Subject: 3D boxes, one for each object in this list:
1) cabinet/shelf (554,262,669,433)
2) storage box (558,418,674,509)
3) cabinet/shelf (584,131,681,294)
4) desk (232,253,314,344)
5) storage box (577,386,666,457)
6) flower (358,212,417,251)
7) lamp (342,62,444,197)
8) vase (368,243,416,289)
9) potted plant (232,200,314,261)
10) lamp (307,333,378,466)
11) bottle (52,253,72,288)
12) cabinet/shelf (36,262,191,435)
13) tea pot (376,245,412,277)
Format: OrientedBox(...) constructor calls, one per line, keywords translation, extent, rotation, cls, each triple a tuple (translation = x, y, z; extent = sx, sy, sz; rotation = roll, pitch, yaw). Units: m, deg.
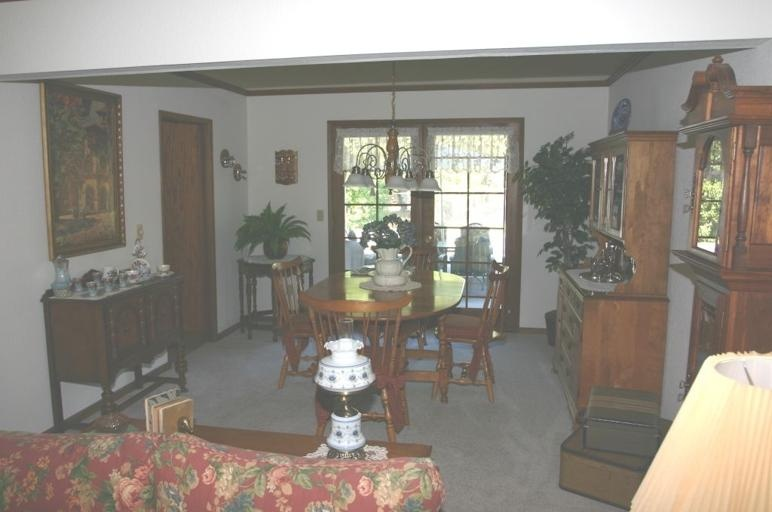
OrientedBox(translation=(1.839, 0.786, 4.669), extent=(0.605, 1.034, 1.087), rotation=(1, 7, 15), cls="cabinet/shelf")
OrientedBox(translation=(1.404, 1.332, 3.515), extent=(0.560, 0.276, 0.773), rotation=(7, 14, 33), cls="storage box")
OrientedBox(translation=(1.935, -0.354, 4.707), extent=(0.422, 1.228, 1.281), rotation=(1, 9, 9), cls="cabinet/shelf")
OrientedBox(translation=(-1.179, 0.423, 6.394), extent=(0.990, 0.966, 0.883), rotation=(0, 5, 4), cls="desk")
OrientedBox(translation=(1.519, 1.073, 3.666), extent=(0.381, 0.125, 0.404), rotation=(3, 19, 17), cls="storage box")
OrientedBox(translation=(0.022, -0.196, 4.828), extent=(0.367, 0.314, 0.316), rotation=(-1, 3, 29), cls="flower")
OrientedBox(translation=(0.055, -1.117, 5.069), extent=(0.875, 1.056, 0.836), rotation=(-1, 6, -40), cls="lamp")
OrientedBox(translation=(0.032, 0.078, 4.835), extent=(0.341, 0.350, 0.342), rotation=(-5, 9, -38), cls="vase")
OrientedBox(translation=(-1.328, -0.215, 6.311), extent=(0.696, 0.480, 0.696), rotation=(-1, 0, -25), cls="potted plant")
OrientedBox(translation=(-0.186, 0.698, 2.662), extent=(0.303, 0.535, 0.295), rotation=(-5, -4, 40), cls="lamp")
OrientedBox(translation=(-2.298, 0.130, 4.029), extent=(0.109, 0.216, 0.080), rotation=(-7, 14, -28), cls="bottle")
OrientedBox(translation=(-1.993, 0.647, 4.060), extent=(0.451, 1.106, 1.090), rotation=(2, 11, 10), cls="cabinet/shelf")
OrientedBox(translation=(0.077, 0.052, 4.882), extent=(0.313, 0.258, 0.233), rotation=(1, 2, -27), cls="tea pot")
